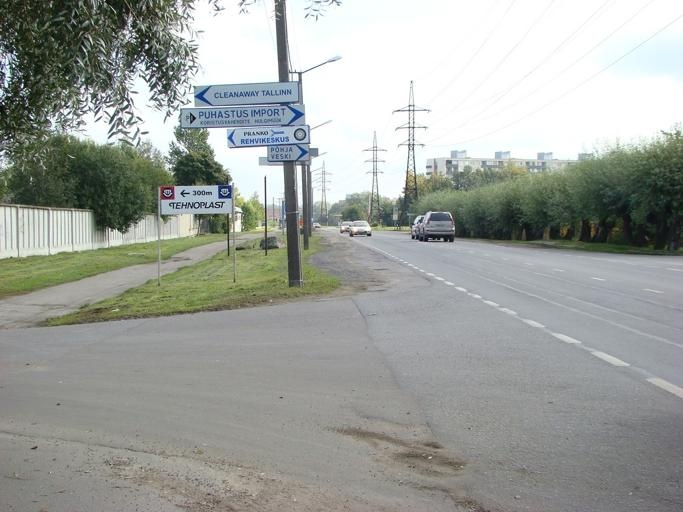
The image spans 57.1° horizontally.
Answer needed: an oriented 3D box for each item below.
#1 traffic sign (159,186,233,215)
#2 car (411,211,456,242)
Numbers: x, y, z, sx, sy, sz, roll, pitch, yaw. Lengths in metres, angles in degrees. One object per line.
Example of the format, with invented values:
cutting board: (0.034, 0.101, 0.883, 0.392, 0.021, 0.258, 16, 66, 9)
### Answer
traffic sign: (-4.637, -1.815, 20.012, 2.264, 0.885, 1.053, -2, 5, -15)
car: (7.416, -2.366, 50.431, 2.161, 2.323, 4.792, -1, 5, -3)
